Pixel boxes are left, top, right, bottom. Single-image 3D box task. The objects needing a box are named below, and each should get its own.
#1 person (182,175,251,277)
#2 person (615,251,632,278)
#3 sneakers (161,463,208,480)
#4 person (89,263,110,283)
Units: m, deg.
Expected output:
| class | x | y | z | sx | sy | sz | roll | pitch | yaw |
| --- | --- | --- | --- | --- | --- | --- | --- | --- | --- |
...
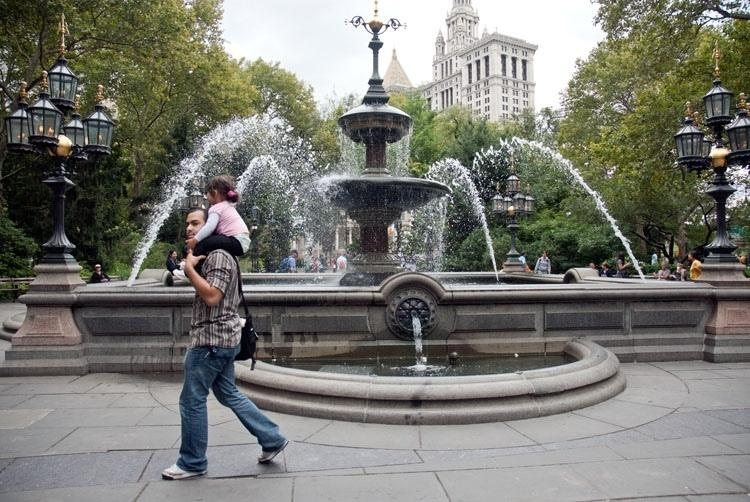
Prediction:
| class | x | y | z | sx | sy | sz | roll | pitch | yaw |
| --- | --- | --- | --- | --- | --- | --- | --- | --- | --- |
| person | -2.570 | -0.464 | 11.359 | 0.991 | 1.572 | 0.749 | 1 | 2 | -4 |
| person | 10.093 | 0.528 | 28.044 | 0.546 | 0.433 | 1.129 | -19 | -35 | 9 |
| sneakers | -3.065 | 3.543 | 11.139 | 0.671 | 0.292 | 0.239 | 7 | -13 | -7 |
| person | -10.816 | 0.856 | 26.943 | 0.639 | 1.127 | 0.651 | -1 | 6 | 5 |
